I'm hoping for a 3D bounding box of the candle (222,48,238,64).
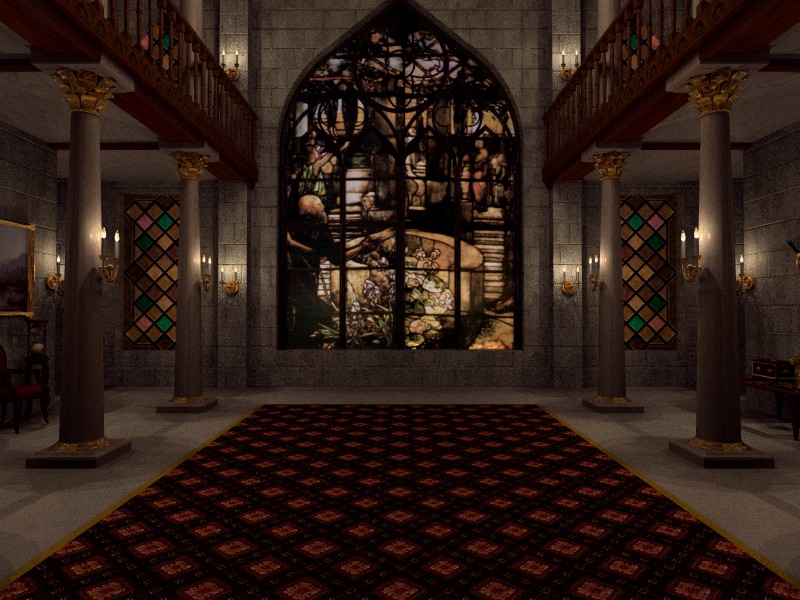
[{"bbox_3d":[-3.333,-4.799,12.647,0.339,0.348,0.111,-1,-1,-3],"label":"candle"}]

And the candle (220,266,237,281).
[{"bbox_3d":[-3.357,-0.513,12.590,0.289,0.312,0.102,1,0,-8],"label":"candle"}]

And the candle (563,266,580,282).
[{"bbox_3d":[3.346,-0.511,12.583,0.305,0.307,0.104,1,2,6],"label":"candle"}]
